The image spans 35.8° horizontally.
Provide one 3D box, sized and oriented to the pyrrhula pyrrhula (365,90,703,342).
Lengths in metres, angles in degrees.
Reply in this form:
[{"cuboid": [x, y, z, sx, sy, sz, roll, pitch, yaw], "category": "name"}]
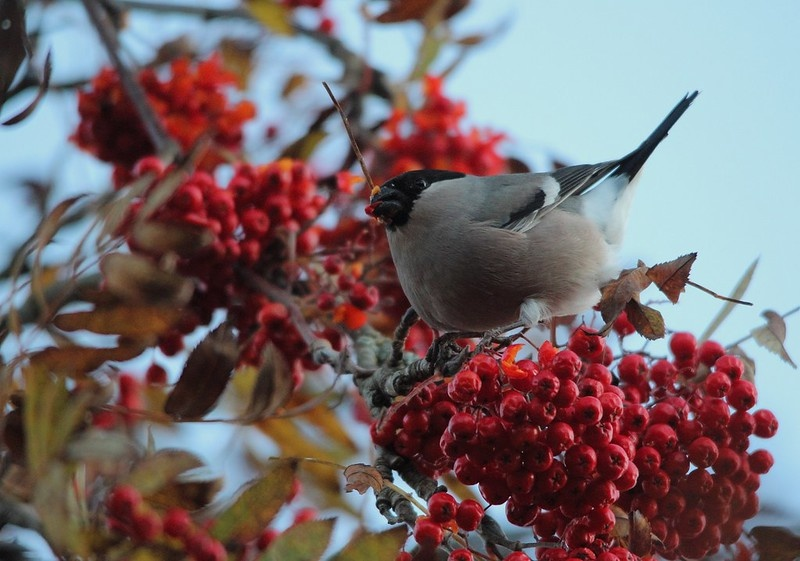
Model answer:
[{"cuboid": [0.354, -0.149, 3.172, 0.901, 0.418, 0.396, -13, 2, -22], "category": "pyrrhula pyrrhula"}]
